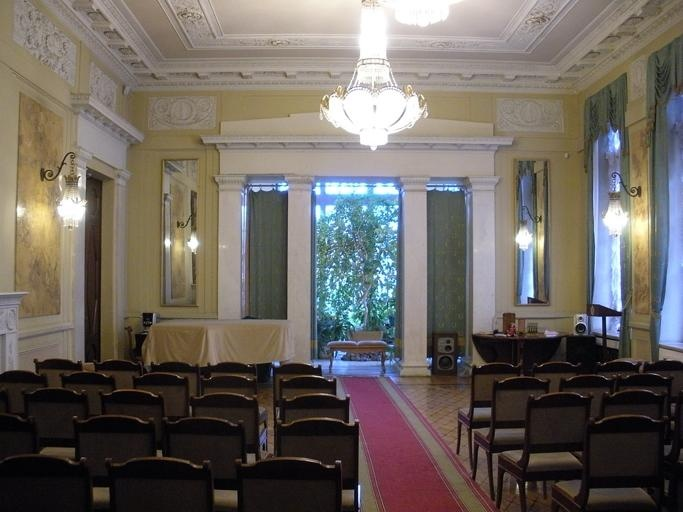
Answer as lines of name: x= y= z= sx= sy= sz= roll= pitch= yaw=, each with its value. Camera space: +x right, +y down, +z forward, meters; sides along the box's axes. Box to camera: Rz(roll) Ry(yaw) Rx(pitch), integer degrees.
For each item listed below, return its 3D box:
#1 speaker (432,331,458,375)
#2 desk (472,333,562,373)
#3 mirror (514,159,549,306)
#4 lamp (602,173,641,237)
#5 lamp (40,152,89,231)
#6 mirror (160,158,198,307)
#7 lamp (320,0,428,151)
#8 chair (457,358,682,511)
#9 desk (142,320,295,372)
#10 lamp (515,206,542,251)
speaker: x=1.966 y=1.739 z=10.773 sx=0.477 sy=0.927 sz=0.486 roll=1 pitch=26 yaw=9
desk: x=3.185 y=1.728 z=10.231 sx=1.436 sy=0.851 sz=1.460 roll=1 pitch=-1 yaw=-25
mirror: x=3.632 y=-0.329 z=10.974 sx=0.113 sy=3.267 sz=0.689 roll=-17 pitch=18 yaw=-40
lamp: x=4.385 y=-0.827 z=8.839 sx=0.561 sy=1.001 sz=0.441 roll=6 pitch=-13 yaw=7
lamp: x=-3.941 y=-0.918 z=7.963 sx=0.574 sy=1.142 sz=0.428 roll=-7 pitch=-10 yaw=6
mirror: x=-3.102 y=-0.452 z=10.735 sx=0.795 sy=2.754 sz=0.398 roll=4 pitch=3 yaw=-12
lamp: x=0.421 y=-2.583 z=7.864 sx=1.192 sy=2.357 sz=2.633 roll=5 pitch=4 yaw=-3
chair: x=1.838 y=1.803 z=5.694 sx=0.769 sy=1.164 sz=1.327 roll=5 pitch=4 yaw=-11
desk: x=-2.020 y=1.438 z=9.281 sx=1.593 sy=0.527 sz=1.062 roll=3 pitch=-4 yaw=-6
lamp: x=3.629 y=-0.502 z=10.905 sx=0.512 sy=1.024 sz=0.359 roll=-8 pitch=-30 yaw=35
